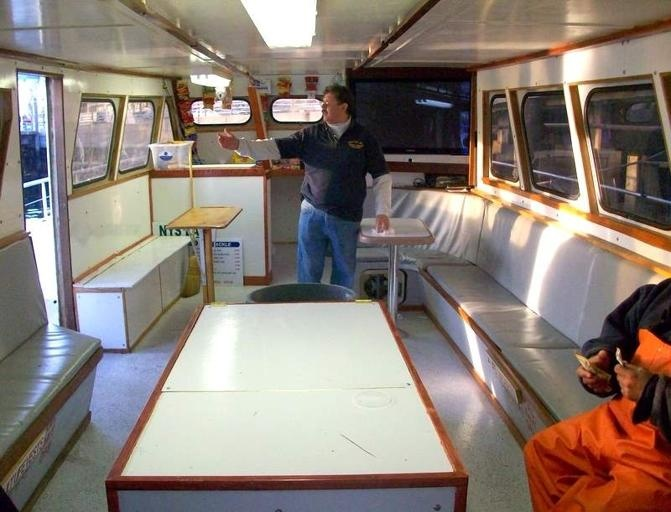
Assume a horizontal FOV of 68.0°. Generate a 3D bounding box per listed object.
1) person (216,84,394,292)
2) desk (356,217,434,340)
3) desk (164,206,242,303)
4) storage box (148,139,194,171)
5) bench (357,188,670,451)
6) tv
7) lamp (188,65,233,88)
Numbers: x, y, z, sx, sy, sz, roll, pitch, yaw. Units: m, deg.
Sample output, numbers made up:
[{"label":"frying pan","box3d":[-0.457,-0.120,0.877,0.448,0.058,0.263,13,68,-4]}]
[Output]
[{"label":"person","box3d":[-0.008,-0.565,4.368,0.964,1.723,0.365,1,18,6]},{"label":"desk","box3d":[0.547,0.208,4.432,0.628,1.075,0.930,1,18,2]},{"label":"desk","box3d":[-1.434,-0.011,5.409,0.443,0.818,0.878,1,22,0]},{"label":"storage box","box3d":[-1.875,-1.176,5.800,0.485,0.241,0.335,0,13,2]},{"label":"bench","box3d":[1.153,0.378,3.172,0.698,0.563,1.872,-3,19,-6]},{"label":"tv","box3d":[0.853,-1.591,5.533,1.644,1.124,0.169,1,20,5]},{"label":"lamp","box3d":[-1.155,-1.681,4.665,0.208,0.097,0.445,7,8,7]}]
